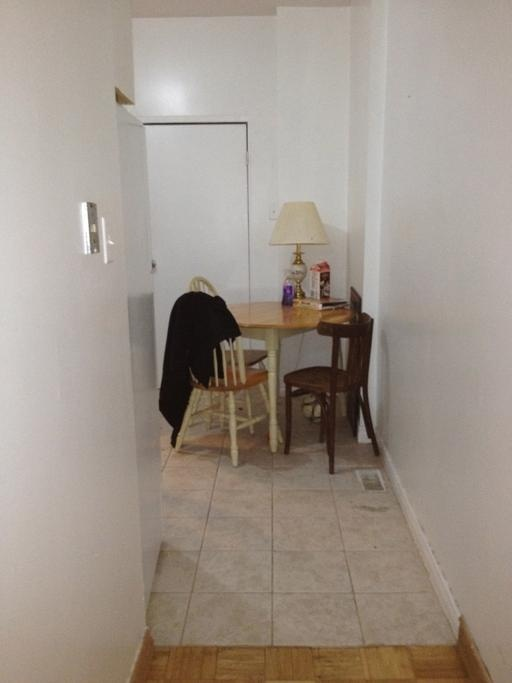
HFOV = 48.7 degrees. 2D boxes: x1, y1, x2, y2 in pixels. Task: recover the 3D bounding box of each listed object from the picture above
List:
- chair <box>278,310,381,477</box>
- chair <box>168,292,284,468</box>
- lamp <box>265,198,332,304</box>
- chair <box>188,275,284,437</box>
[{"bbox_3d":[0.384,0.230,2.855,0.438,0.715,0.453,-3,10,-22],"label":"chair"},{"bbox_3d":[-0.187,0.152,2.819,0.540,0.834,0.515,-6,13,-28],"label":"chair"},{"bbox_3d":[0.255,-0.628,3.746,0.486,0.922,0.525,-1,16,4],"label":"lamp"},{"bbox_3d":[-0.181,0.134,3.489,0.524,0.955,0.489,13,14,29],"label":"chair"}]
